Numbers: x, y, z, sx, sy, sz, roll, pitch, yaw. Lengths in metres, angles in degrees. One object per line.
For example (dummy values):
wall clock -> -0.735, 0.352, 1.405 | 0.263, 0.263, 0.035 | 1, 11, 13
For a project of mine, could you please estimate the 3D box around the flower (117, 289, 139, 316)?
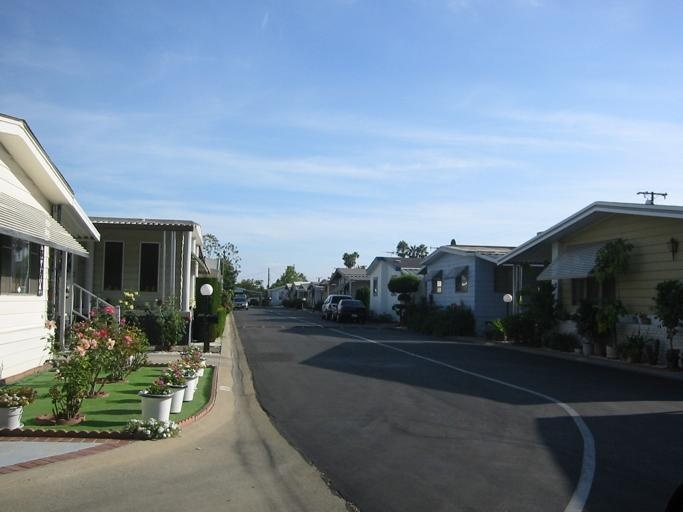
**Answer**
flower -> -7.169, 1.599, 19.626 | 0.605, 0.816, 0.609 | -4, 25, -27

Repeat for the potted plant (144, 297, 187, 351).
potted plant -> -6.062, 2.379, 20.249 | 1.313, 1.686, 0.731 | 1, 1, 4

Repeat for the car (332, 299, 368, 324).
car -> 0.521, 3.976, 41.029 | 1.434, 1.218, 3.122 | 1, 0, -3

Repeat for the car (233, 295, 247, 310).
car -> -11.666, 5.578, 67.904 | 1.030, 1.169, 2.068 | -1, -9, -1

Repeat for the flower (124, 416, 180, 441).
flower -> -2.950, 2.709, 9.140 | 0.438, 0.210, 0.434 | 5, -5, -6

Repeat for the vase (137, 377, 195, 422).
vase -> -3.039, 2.438, 9.909 | 0.690, 0.565, 0.727 | 3, -3, -14

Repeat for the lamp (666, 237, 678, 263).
lamp -> 9.917, -0.170, 17.577 | 0.232, 0.548, 0.366 | 1, 0, -10
